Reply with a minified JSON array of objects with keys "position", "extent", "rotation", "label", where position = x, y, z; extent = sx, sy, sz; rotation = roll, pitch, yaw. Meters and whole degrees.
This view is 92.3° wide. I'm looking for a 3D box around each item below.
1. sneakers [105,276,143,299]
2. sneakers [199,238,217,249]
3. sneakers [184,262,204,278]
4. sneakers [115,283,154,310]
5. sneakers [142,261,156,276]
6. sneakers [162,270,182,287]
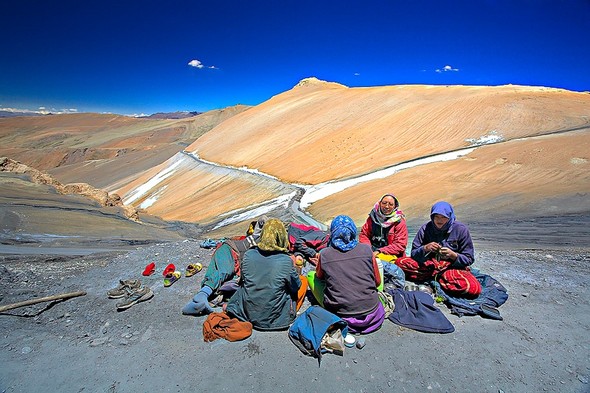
[{"position":[-2.475,1.335,4.211],"extent":[0.593,0.211,0.219],"rotation":[-5,14,-26],"label":"sneakers"},{"position":[-1.748,0.909,5.498],"extent":[0.380,0.143,0.198],"rotation":[0,2,32],"label":"sneakers"},{"position":[-1.647,1.182,4.571],"extent":[0.176,0.092,0.253],"rotation":[4,20,21],"label":"sneakers"},{"position":[-2.316,1.422,4.012],"extent":[0.466,0.181,0.264],"rotation":[-18,19,-31],"label":"sneakers"},{"position":[-2.429,1.203,4.692],"extent":[0.179,0.074,0.212],"rotation":[-14,-1,-5],"label":"sneakers"},{"position":[-1.914,1.262,4.369],"extent":[0.167,0.104,0.270],"rotation":[6,22,12],"label":"sneakers"}]
